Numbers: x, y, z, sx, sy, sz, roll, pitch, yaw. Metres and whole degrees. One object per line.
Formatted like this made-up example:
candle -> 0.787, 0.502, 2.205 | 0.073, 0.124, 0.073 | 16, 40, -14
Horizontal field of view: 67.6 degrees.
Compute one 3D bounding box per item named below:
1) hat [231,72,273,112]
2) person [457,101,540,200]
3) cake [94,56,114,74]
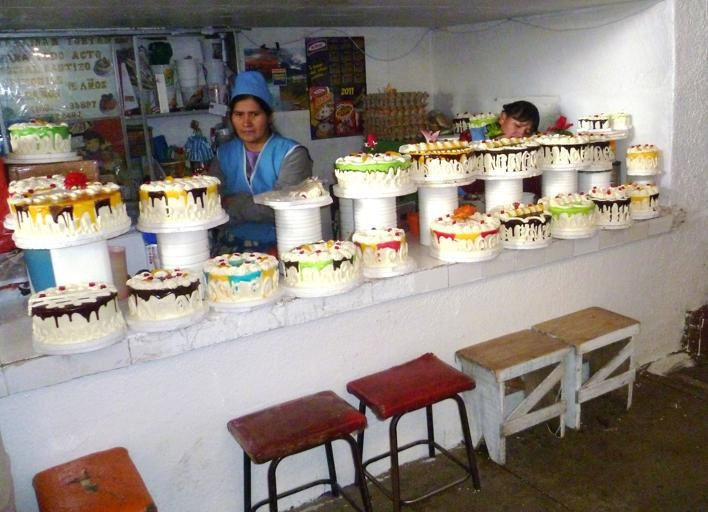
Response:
hat -> -0.662, -1.072, 3.392 | 0.241, 0.210, 0.184 | -2, -7, -27
person -> 1.368, -0.878, 4.552 | 0.905, 0.876, 0.880 | 1, 10, 13
cake -> -1.995, -1.517, 4.232 | 0.132, 0.081, 0.129 | 17, 34, 23
